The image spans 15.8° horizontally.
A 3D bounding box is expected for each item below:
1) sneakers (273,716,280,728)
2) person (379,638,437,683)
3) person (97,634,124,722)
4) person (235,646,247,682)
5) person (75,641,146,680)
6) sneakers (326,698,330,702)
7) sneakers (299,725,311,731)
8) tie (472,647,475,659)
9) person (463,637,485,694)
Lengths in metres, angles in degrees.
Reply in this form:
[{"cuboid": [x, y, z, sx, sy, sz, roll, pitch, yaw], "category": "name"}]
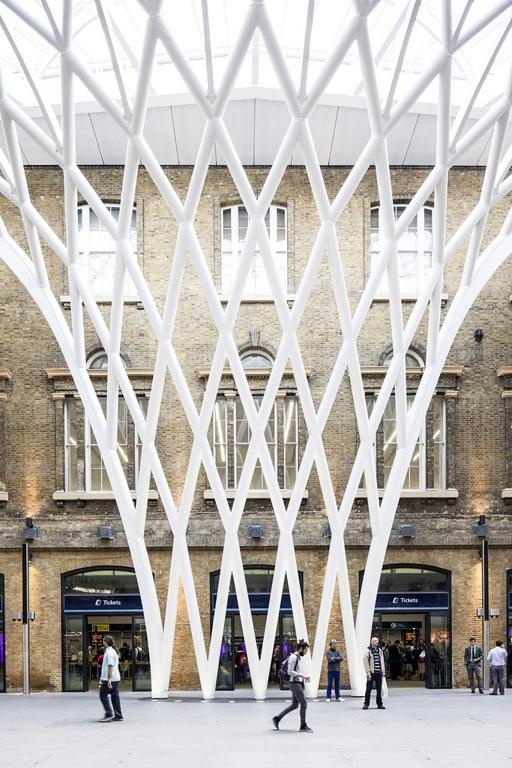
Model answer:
[{"cuboid": [0.374, 6.226, 33.790, 0.094, 0.307, 0.089, -6, 8, 0], "category": "sneakers"}, {"cuboid": [3.822, 7.110, 47.303, 0.981, 0.921, 1.766, -1, -14, -1], "category": "person"}, {"cuboid": [-2.767, 5.598, 35.280, 0.414, 1.669, 1.460, 0, -13, -4], "category": "person"}, {"cuboid": [-0.360, 6.857, 45.246, 0.289, 0.933, 0.348, -3, -12, 10], "category": "person"}, {"cuboid": [-3.338, 6.825, 45.418, 1.194, 1.124, 0.812, 0, -11, -3], "category": "person"}, {"cuboid": [1.556, 6.830, 39.858, 0.094, 0.144, 0.280, 1, -5, 2], "category": "sneakers"}, {"cuboid": [0.899, 6.276, 33.605, 0.227, 0.185, 0.090, -2, -7, 12], "category": "sneakers"}, {"cuboid": [5.031, 6.202, 42.613, 0.093, 0.273, 0.048, -1, -11, 0], "category": "tie"}, {"cuboid": [5.084, 6.593, 43.004, 0.408, 1.324, 0.975, -2, -12, 7], "category": "person"}]
